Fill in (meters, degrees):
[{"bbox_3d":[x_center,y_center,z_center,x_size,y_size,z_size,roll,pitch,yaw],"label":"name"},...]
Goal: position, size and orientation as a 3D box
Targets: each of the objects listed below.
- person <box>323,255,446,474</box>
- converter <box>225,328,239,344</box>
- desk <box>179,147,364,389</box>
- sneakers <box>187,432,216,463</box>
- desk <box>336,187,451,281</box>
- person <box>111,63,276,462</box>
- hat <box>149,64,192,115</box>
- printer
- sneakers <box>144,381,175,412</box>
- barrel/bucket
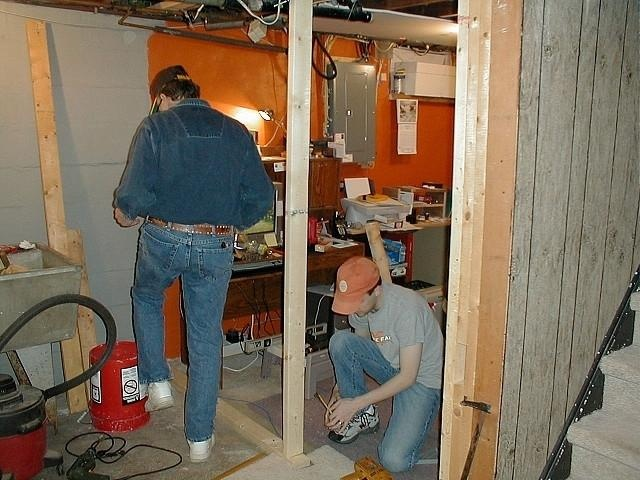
[{"bbox_3d":[0.347,0.723,3.200,0.706,1.255,0.642,8,11,31],"label":"person"},{"bbox_3d":[-0.726,0.803,4.539,0.119,0.112,0.116,-12,18,-43],"label":"converter"},{"bbox_3d":[-0.352,0.081,4.329,1.285,1.232,0.423,-17,26,-41],"label":"desk"},{"bbox_3d":[-0.703,1.228,3.206,0.077,0.096,0.223,0,6,1],"label":"sneakers"},{"bbox_3d":[0.776,-0.025,5.599,0.559,0.860,0.929,7,4,10],"label":"desk"},{"bbox_3d":[-0.750,0.242,3.175,0.832,2.095,0.411,1,9,-5],"label":"person"},{"bbox_3d":[-0.887,-0.915,3.246,0.282,0.285,0.216,5,26,21],"label":"hat"},{"bbox_3d":[0.539,-0.354,5.331,0.578,0.462,0.551,-9,17,-39],"label":"printer"},{"bbox_3d":[-1.040,0.990,3.470,0.130,0.181,0.262,-1,1,-22],"label":"sneakers"},{"bbox_3d":[-1.302,0.977,3.546,0.382,0.430,0.395,-2,2,0],"label":"barrel/bucket"}]
